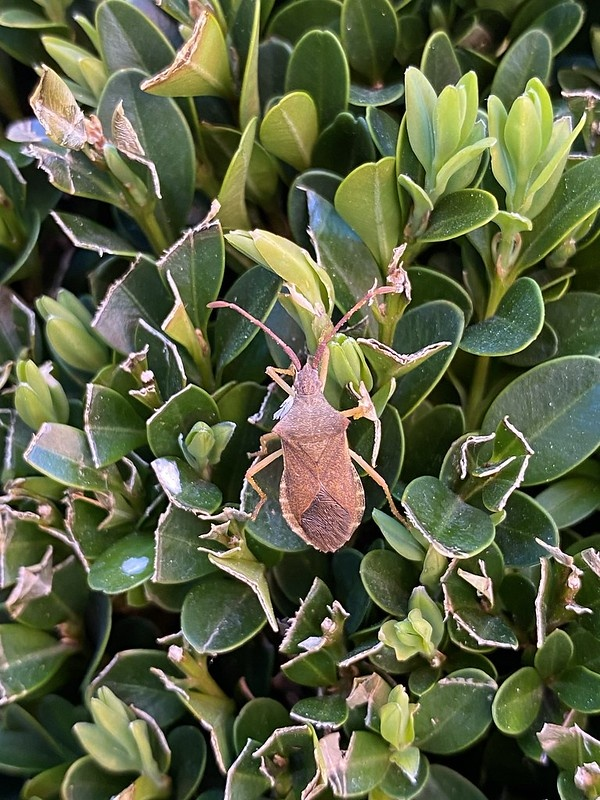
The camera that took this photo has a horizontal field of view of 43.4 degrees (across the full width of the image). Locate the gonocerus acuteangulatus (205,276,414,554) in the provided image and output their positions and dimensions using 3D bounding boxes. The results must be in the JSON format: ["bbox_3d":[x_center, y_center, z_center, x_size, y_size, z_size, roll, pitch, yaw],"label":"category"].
[{"bbox_3d":[0.021,0.077,1.186,0.294,0.135,0.433,-6,77,4],"label":"gonocerus acuteangulatus"}]
